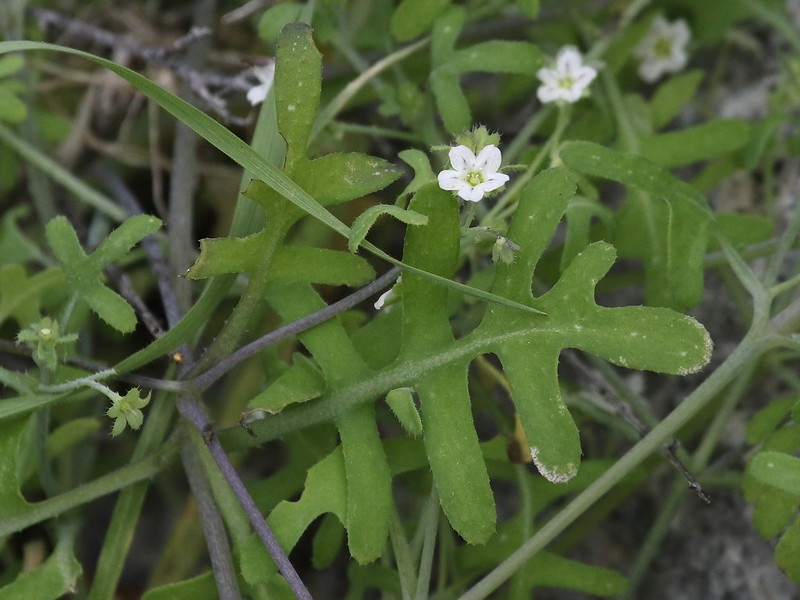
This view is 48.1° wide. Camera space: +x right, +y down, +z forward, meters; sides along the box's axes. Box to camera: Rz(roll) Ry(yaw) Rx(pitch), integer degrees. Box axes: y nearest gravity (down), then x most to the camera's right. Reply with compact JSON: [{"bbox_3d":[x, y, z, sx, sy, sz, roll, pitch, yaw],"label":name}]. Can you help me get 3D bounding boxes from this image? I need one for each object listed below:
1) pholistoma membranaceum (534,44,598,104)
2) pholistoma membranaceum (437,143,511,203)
[{"bbox_3d":[0.212,-0.295,1.158,0.070,0.068,0.119,2,52,9],"label":"pholistoma membranaceum"},{"bbox_3d":[0.084,-0.147,1.016,0.071,0.033,0.069,22,58,22],"label":"pholistoma membranaceum"}]
